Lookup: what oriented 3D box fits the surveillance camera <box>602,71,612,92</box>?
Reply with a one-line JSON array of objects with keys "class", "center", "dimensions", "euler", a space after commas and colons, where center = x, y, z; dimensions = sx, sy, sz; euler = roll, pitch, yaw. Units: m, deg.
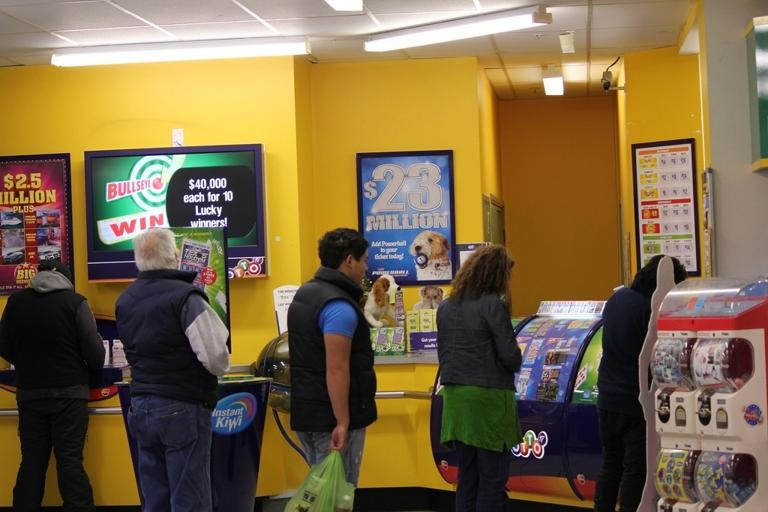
[{"class": "surveillance camera", "center": [2.657, -2.113, 7.681], "dimensions": [0.085, 0.237, 0.322], "euler": [-1, 5, 21]}]

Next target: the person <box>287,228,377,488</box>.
[{"class": "person", "center": [-0.319, 0.605, 3.818], "dimensions": [0.512, 1.519, 0.337], "euler": [-3, 4, -3]}]

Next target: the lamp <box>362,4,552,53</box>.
[{"class": "lamp", "center": [0.725, -2.188, 6.205], "dimensions": [1.466, 0.154, 0.239], "euler": [-3, 27, 26]}]

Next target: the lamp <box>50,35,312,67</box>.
[{"class": "lamp", "center": [-2.075, -2.098, 6.574], "dimensions": [2.553, 0.178, 0.234], "euler": [-3, 5, 0]}]
